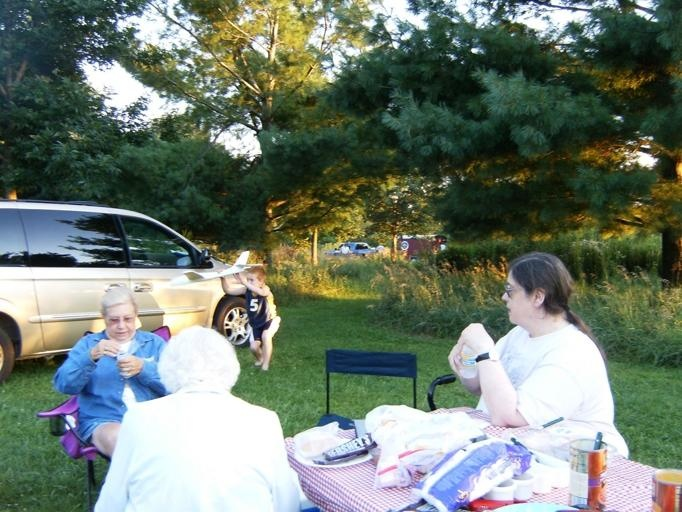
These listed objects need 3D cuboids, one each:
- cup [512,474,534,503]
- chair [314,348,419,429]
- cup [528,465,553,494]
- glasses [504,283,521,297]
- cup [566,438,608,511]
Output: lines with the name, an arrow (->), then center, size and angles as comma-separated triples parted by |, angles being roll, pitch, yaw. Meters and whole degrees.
cup -> 1.047, 1.319, 3.697 | 0.159, 0.138, 0.063 | 0, -3, -27
chair -> 0.243, 1.061, 5.911 | 0.887, 0.806, 0.679 | 1, -1, 13
cup -> 1.163, 1.295, 3.751 | 0.122, 0.129, 0.153 | -1, -7, 0
glasses -> 1.192, 0.237, 4.482 | 0.114, 0.036, 0.086 | 7, 1, 2
cup -> 1.358, 1.167, 3.549 | 0.208, 0.415, 0.157 | -1, -3, 3
